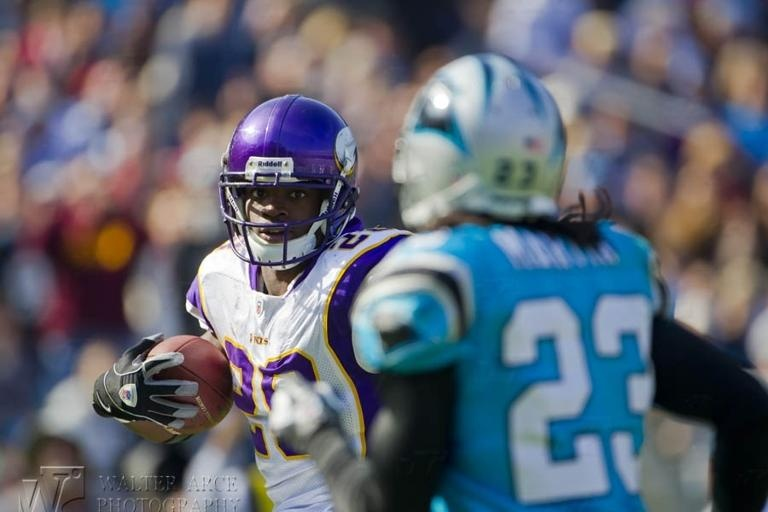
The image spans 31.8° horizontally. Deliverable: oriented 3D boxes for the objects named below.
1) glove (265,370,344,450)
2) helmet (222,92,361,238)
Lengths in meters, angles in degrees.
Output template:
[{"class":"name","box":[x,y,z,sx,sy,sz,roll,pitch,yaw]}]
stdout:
[{"class":"glove","box":[-0.309,0.567,5.018,0.243,0.308,0.284,-7,89,-34]},{"class":"helmet","box":[-0.393,-0.392,5.732,0.491,0.644,0.512,-4,101,19]}]
